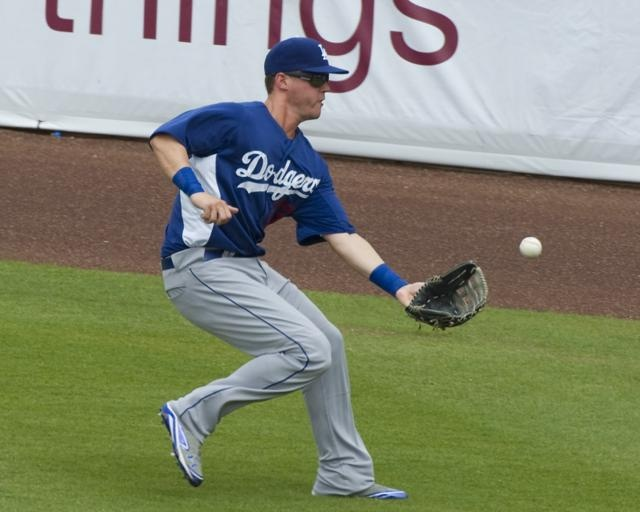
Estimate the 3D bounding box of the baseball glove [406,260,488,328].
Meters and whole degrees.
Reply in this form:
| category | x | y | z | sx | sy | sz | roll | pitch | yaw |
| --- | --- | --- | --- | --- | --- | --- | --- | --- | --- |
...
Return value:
| category | x | y | z | sx | sy | sz | roll | pitch | yaw |
| --- | --- | --- | --- | --- | --- | --- | --- | --- | --- |
| baseball glove | 0.659 | 0.210 | 5.937 | 0.433 | 0.177 | 0.276 | -16 | 52 | 18 |

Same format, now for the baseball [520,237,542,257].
| category | x | y | z | sx | sy | sz | roll | pitch | yaw |
| --- | --- | --- | --- | --- | --- | --- | --- | --- | --- |
| baseball | 1.394 | -0.054 | 7.777 | 0.100 | 0.100 | 0.102 | 49 | 49 | 4 |

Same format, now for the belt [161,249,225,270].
| category | x | y | z | sx | sy | sz | roll | pitch | yaw |
| --- | --- | --- | --- | --- | --- | --- | --- | --- | --- |
| belt | -0.643 | 0.009 | 5.875 | 0.204 | 0.042 | 0.139 | -11 | 2 | -9 |

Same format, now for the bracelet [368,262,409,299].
| category | x | y | z | sx | sy | sz | roll | pitch | yaw |
| --- | --- | --- | --- | --- | --- | --- | --- | --- | --- |
| bracelet | 0.347 | 0.130 | 6.119 | 0.217 | 0.125 | 0.091 | 40 | -7 | 6 |

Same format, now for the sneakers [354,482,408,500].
| category | x | y | z | sx | sy | sz | roll | pitch | yaw |
| --- | --- | --- | --- | --- | --- | --- | --- | --- | --- |
| sneakers | 0.312 | 1.193 | 5.909 | 0.277 | 0.102 | 0.087 | -4 | -3 | 10 |

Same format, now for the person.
| category | x | y | z | sx | sy | sz | roll | pitch | yaw |
| --- | --- | --- | --- | --- | --- | --- | --- | --- | --- |
| person | -0.214 | 0.036 | 5.910 | 1.249 | 2.085 | 1.258 | -4 | 25 | -23 |

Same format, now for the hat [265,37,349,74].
| category | x | y | z | sx | sy | sz | roll | pitch | yaw |
| --- | --- | --- | --- | --- | --- | --- | --- | --- | --- |
| hat | -0.059 | -1.038 | 6.102 | 0.505 | 0.211 | 0.306 | 2 | 8 | 21 |
